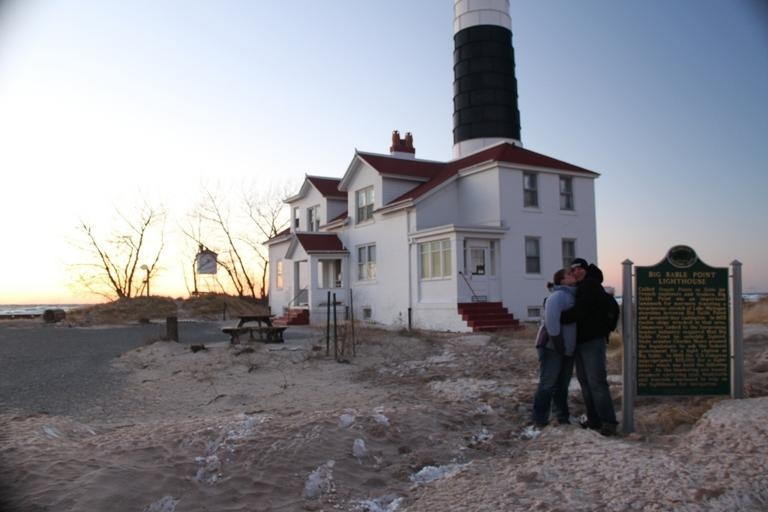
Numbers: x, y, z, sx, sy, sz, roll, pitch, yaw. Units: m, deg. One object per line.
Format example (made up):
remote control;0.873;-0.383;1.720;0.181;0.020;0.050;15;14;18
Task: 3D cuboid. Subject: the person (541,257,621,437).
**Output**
person;3.406;1.472;9.377;0.760;2.844;0.825;-2;3;29

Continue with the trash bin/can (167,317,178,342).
trash bin/can;-7.560;2.597;20.198;0.307;0.632;0.593;-4;2;-8

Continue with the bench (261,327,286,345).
bench;-3.976;2.784;20.328;0.723;0.582;1.769;-4;2;-13

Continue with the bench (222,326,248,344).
bench;-5.348;2.851;20.377;0.845;0.544;0.469;2;-2;-17

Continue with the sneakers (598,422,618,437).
sneakers;3.589;2.781;9.089;0.286;0.208;0.290;-3;2;12
